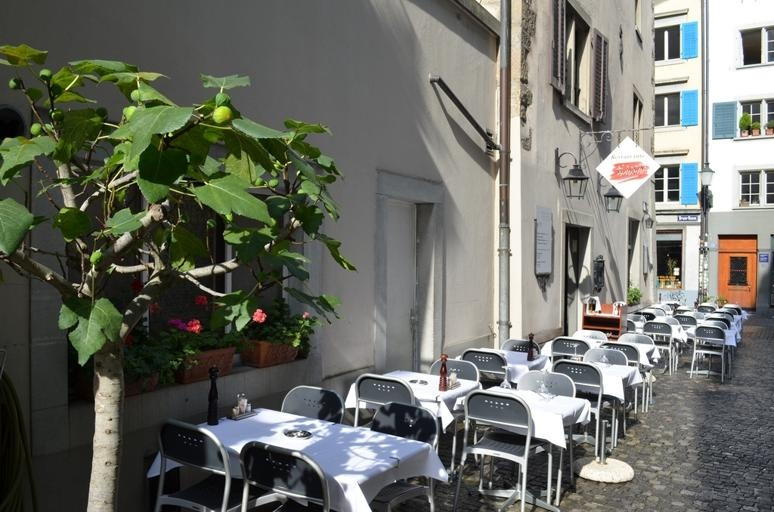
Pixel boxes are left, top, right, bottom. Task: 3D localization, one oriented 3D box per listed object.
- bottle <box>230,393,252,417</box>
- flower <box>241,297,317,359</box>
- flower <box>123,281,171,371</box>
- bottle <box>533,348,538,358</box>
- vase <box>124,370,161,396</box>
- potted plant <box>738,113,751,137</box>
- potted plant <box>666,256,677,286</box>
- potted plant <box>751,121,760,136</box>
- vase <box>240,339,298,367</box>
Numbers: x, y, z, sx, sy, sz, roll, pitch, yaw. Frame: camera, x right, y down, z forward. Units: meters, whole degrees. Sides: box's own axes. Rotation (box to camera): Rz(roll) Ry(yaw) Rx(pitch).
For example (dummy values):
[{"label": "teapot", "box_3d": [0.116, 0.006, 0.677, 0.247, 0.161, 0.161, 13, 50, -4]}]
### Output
[{"label": "bottle", "box_3d": [-1.511, 1.534, 7.029, 0.195, 0.272, 0.191, -1, 8, 0]}, {"label": "flower", "box_3d": [-1.221, 0.833, 8.095, 0.607, 0.616, 0.757, 5, 1, 31]}, {"label": "flower", "box_3d": [-2.471, 0.691, 7.064, 0.403, 0.976, 0.838, 1, -1, -22]}, {"label": "bottle", "box_3d": [2.155, 1.407, 10.023, 0.099, 0.113, 0.188, -3, -13, 14]}, {"label": "vase", "box_3d": [-2.407, 1.233, 6.726, 0.225, 0.170, 0.350, 1, -8, -25]}, {"label": "potted plant", "box_3d": [12.641, -4.648, 24.212, 0.455, 0.837, 0.323, 1, 0, 7]}, {"label": "potted plant", "box_3d": [10.751, 0.543, 25.963, 0.375, 0.760, 0.428, 1, -1, 24]}, {"label": "potted plant", "box_3d": [12.901, -4.487, 24.048, 0.282, 0.482, 0.175, 1, 0, 24]}, {"label": "vase", "box_3d": [-1.358, 1.110, 7.914, 0.645, 0.301, 0.470, 1, -1, -15]}]
